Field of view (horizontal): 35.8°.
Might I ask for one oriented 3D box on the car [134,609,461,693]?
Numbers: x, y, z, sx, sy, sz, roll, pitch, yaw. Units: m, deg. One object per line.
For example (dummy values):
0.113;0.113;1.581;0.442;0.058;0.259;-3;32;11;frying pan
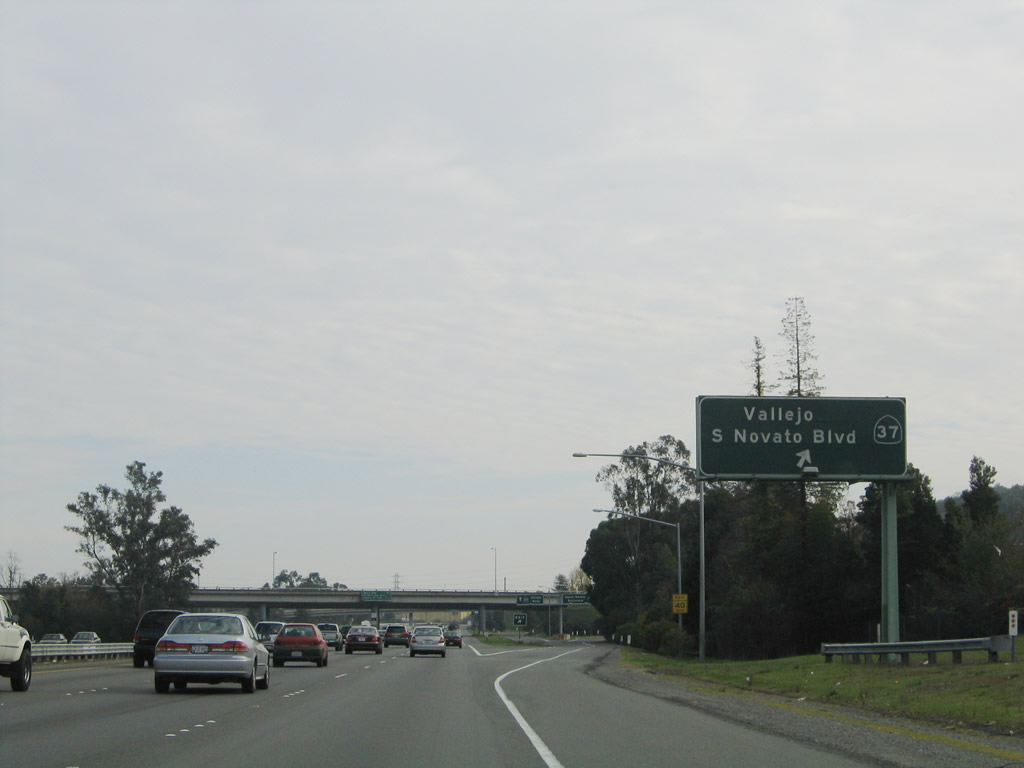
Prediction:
-8.391;8.230;49.151;3.071;2.241;7.364;-1;-7;5;car
